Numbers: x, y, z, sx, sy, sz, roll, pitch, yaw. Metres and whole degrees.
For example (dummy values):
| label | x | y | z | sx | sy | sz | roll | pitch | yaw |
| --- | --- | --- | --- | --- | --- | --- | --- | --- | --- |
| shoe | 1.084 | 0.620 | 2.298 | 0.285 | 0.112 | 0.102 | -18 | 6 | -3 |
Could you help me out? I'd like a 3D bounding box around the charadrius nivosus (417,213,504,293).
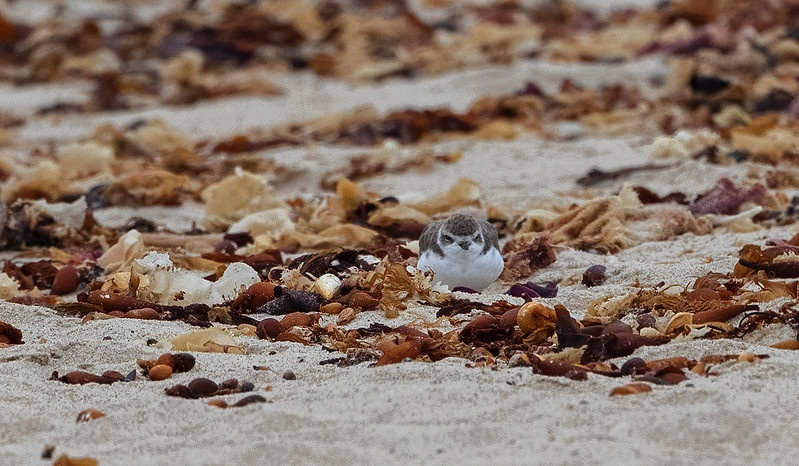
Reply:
| label | x | y | z | sx | sy | sz | roll | pitch | yaw |
| --- | --- | --- | --- | --- | --- | --- | --- | --- | --- |
| charadrius nivosus | 0.530 | 0.198 | 10.342 | 0.743 | 0.721 | 0.522 | -4 | 21 | 1 |
